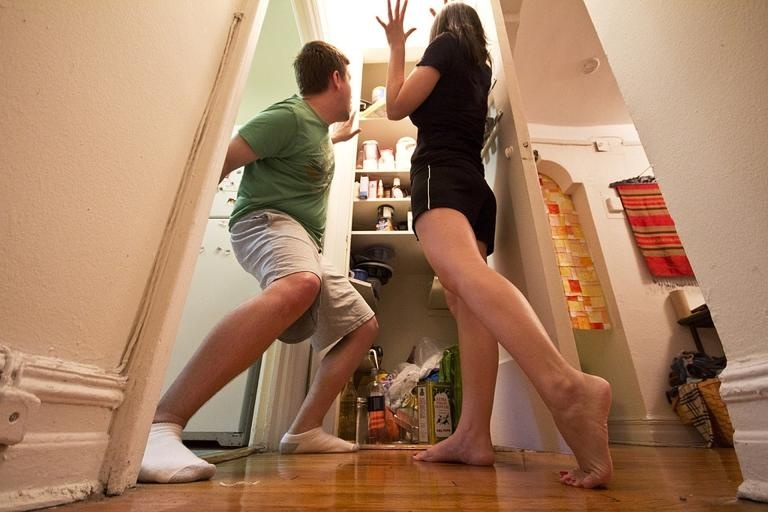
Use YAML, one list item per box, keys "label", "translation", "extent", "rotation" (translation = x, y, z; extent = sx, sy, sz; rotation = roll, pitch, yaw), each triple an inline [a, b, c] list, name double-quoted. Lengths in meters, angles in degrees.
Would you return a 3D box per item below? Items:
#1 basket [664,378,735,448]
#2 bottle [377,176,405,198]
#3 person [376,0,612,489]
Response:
- label: "basket"
  translation: [1.684, 0.804, 2.263]
  extent: [0.185, 0.292, 0.454]
  rotation: [-7, -10, 31]
- label: "bottle"
  translation: [0.041, -0.404, 2.506]
  extent: [0.140, 0.122, 0.050]
  rotation: [1, -12, -3]
- label: "person"
  translation: [0.248, -0.183, 1.290]
  extent: [0.489, 1.549, 0.615]
  rotation: [-1, -9, -2]
